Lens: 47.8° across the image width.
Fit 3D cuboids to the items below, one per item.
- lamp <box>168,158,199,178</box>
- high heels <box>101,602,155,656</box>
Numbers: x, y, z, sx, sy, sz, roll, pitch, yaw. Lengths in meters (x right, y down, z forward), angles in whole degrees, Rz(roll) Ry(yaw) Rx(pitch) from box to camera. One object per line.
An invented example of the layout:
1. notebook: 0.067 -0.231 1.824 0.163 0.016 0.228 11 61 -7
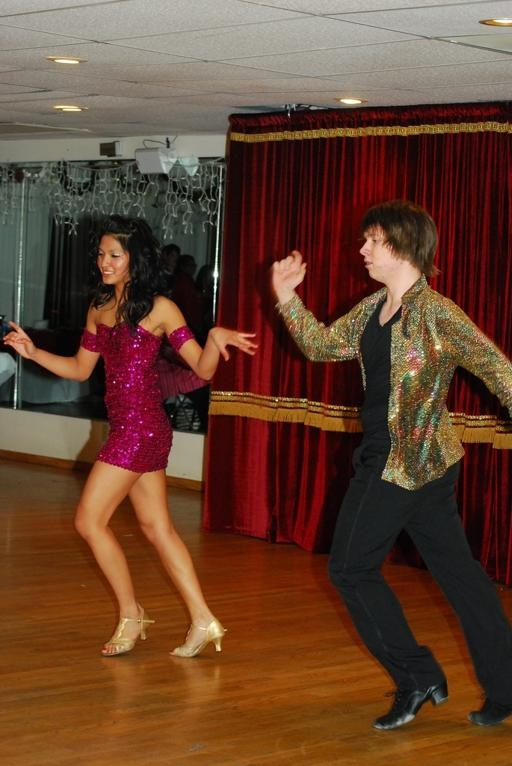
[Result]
1. lamp: -0.657 -1.950 5.267 0.236 0.122 0.154 -5 17 21
2. high heels: -0.492 0.979 2.311 0.098 0.141 0.283 -4 0 29
